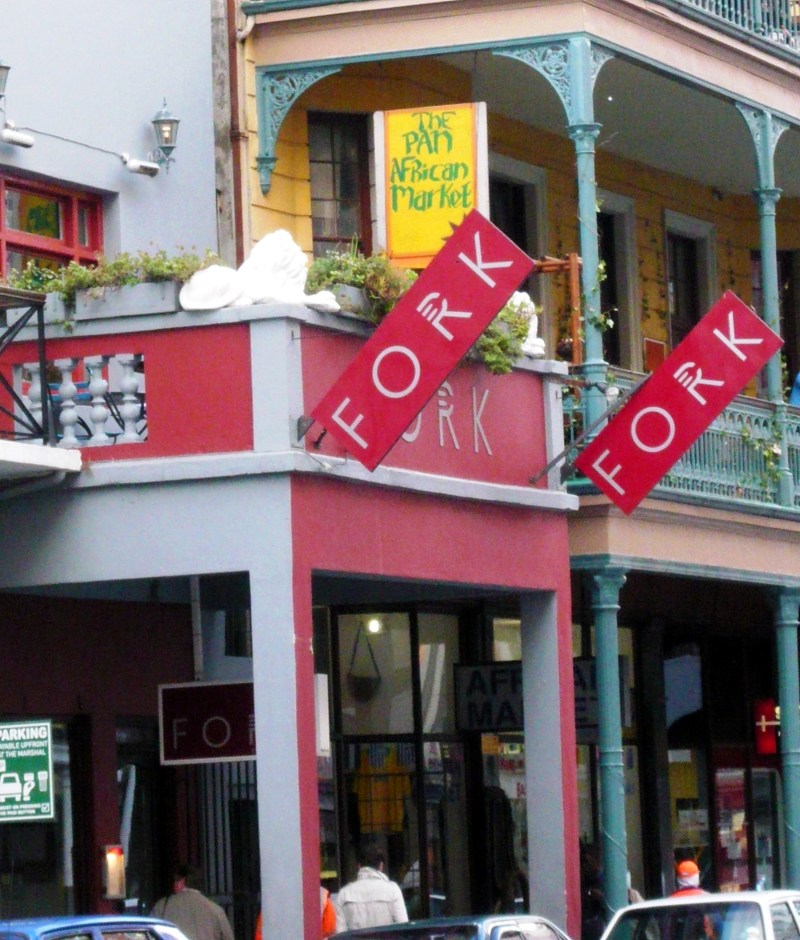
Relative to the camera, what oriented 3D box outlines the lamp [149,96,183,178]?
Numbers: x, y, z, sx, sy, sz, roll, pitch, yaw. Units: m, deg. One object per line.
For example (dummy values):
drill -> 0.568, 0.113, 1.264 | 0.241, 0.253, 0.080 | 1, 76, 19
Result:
lamp -> -1.790, -2.618, 16.036 | 0.253, 0.521, 0.262 | -8, 16, -28
